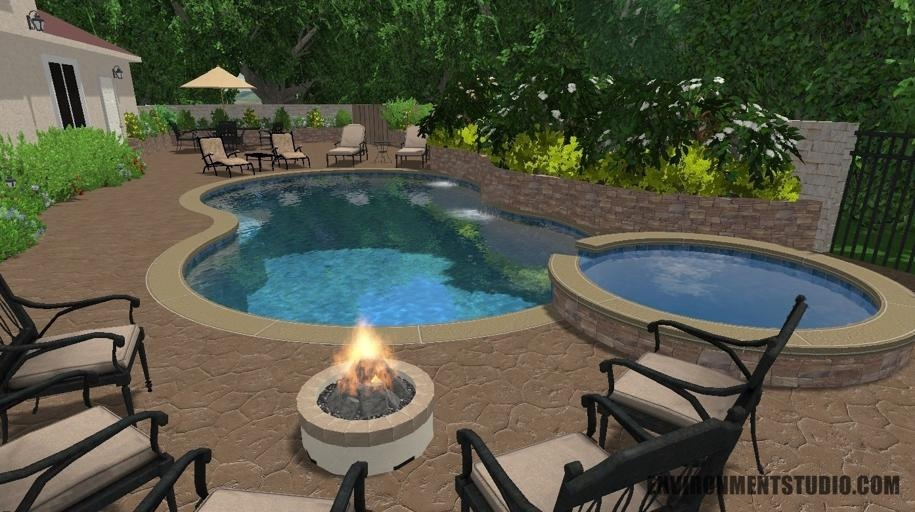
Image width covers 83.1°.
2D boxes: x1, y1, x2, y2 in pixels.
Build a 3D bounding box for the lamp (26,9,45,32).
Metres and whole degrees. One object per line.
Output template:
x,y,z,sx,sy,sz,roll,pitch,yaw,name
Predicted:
-12.996,-7.252,15.864,0.794,0.583,0.321,19,27,42,lamp
